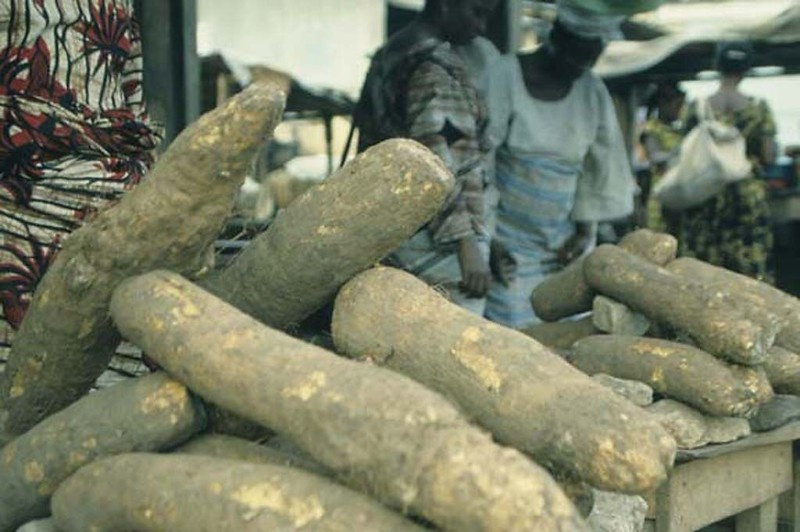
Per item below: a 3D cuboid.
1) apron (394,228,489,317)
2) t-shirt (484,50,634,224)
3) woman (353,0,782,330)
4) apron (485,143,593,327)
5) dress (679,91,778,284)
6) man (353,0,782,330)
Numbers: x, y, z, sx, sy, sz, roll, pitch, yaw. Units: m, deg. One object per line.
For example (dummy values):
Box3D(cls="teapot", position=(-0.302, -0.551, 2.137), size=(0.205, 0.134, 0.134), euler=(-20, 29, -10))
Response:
Box3D(cls="apron", position=(0.239, 0.047, 8.462), size=(0.508, 0.223, 0.408), euler=(36, 41, -3))
Box3D(cls="t-shirt", position=(0.860, -0.823, 8.740), size=(1.051, 1.142, 0.649), euler=(7, 41, 6))
Box3D(cls="woman", position=(0.865, -0.591, 8.091), size=(1.303, 2.530, 0.737), euler=(-7, 18, -43))
Box3D(cls="apron", position=(0.726, -0.184, 8.499), size=(0.636, 0.981, 0.313), euler=(10, 4, -24))
Box3D(cls="dress", position=(1.932, -0.448, 8.538), size=(0.522, 1.057, 0.244), euler=(10, 7, 14))
Box3D(cls="man", position=(0.865, -0.591, 8.091), size=(1.303, 2.530, 0.737), euler=(-7, 18, -43))
